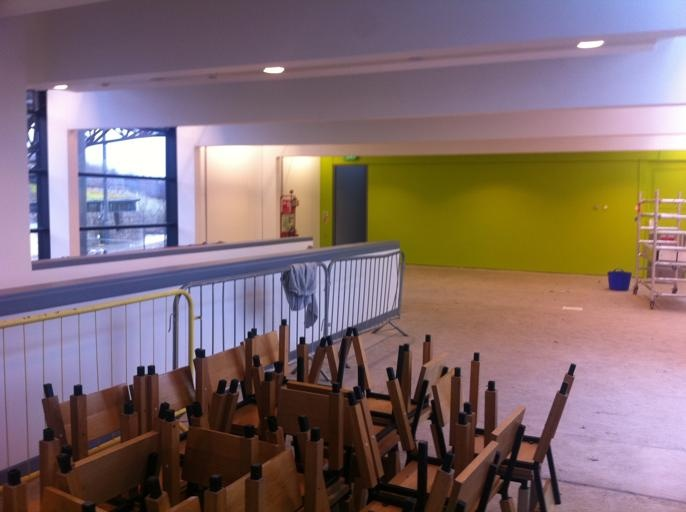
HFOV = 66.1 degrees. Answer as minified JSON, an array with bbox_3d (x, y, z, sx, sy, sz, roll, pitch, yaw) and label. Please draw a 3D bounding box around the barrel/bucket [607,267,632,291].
[{"bbox_3d":[6.104,0.504,11.634,0.455,0.373,0.434,1,-2,0],"label":"barrel/bucket"}]
